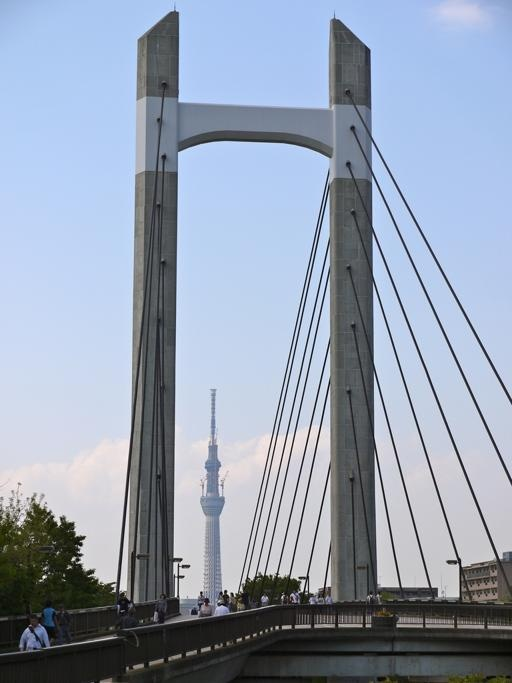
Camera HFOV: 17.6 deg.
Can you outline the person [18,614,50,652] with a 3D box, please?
[{"bbox_3d":[-4.126,5.479,30.860,0.597,0.655,0.732,4,-7,-27],"label":"person"}]
